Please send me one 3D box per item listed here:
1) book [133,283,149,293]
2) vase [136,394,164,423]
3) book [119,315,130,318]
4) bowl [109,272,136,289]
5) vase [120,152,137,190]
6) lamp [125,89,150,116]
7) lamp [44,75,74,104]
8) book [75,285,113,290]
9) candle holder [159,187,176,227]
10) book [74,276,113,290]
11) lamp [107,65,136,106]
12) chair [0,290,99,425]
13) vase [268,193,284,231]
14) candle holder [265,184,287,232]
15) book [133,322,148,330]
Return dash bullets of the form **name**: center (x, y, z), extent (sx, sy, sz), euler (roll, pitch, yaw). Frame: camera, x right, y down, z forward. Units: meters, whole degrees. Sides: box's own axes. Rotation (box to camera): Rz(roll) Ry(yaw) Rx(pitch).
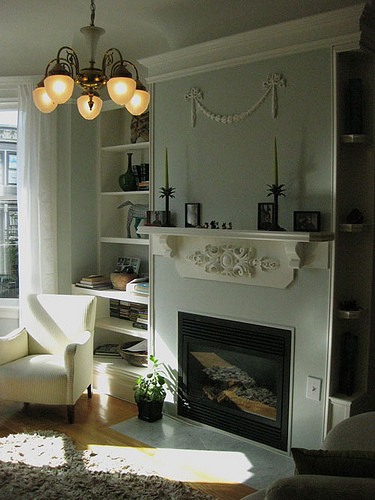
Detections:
- **book**: center (-0.375, 0.309, 3.529), extent (0.107, 0.062, 0.180), euler (0, 1, -11)
- **vase**: center (-0.270, 1.109, 3.117), extent (0.188, 0.211, 0.222), euler (1, 1, -1)
- **book**: center (-0.579, 0.609, 3.998), extent (0.049, 0.012, 0.046), euler (2, 1, 27)
- **bowl**: center (-0.586, 0.261, 3.863), extent (0.167, 0.096, 0.159), euler (0, 0, 0)
- **vase**: center (-0.516, -0.691, 3.839), extent (0.100, 0.315, 0.163), euler (0, 1, -38)
- **lamp**: center (-0.237, -0.713, 2.091), extent (0.116, 0.090, 0.114), euler (0, -2, -9)
- **lamp**: center (-0.536, -0.664, 1.830), extent (0.104, 0.078, 0.104), euler (-1, -1, 40)
- **book**: center (-0.838, 0.332, 3.900), extent (0.327, 0.030, 0.144), euler (0, 2, -13)
- **candle holder**: center (-0.130, -0.305, 3.015), extent (0.100, 0.285, 0.184), euler (1, 1, -1)
- **book**: center (-0.850, 0.293, 3.933), extent (0.323, 0.104, 0.194), euler (0, 2, -19)
- **lamp**: center (-0.291, -0.722, 1.914), extent (0.123, 0.174, 0.198), euler (0, 1, -10)
- **chair**: center (-1.058, 0.787, 3.265), extent (0.624, 0.833, 0.628), euler (1, 1, 2)
- **vase**: center (0.503, -0.212, 2.451), extent (0.085, 0.210, 0.217), euler (1, 1, 13)
- **candle holder**: center (0.500, -0.246, 2.454), extent (0.109, 0.278, 0.261), euler (1, 1, 12)
- **book**: center (-0.403, 0.644, 3.708), extent (0.181, 0.049, 0.044), euler (2, 2, 42)
